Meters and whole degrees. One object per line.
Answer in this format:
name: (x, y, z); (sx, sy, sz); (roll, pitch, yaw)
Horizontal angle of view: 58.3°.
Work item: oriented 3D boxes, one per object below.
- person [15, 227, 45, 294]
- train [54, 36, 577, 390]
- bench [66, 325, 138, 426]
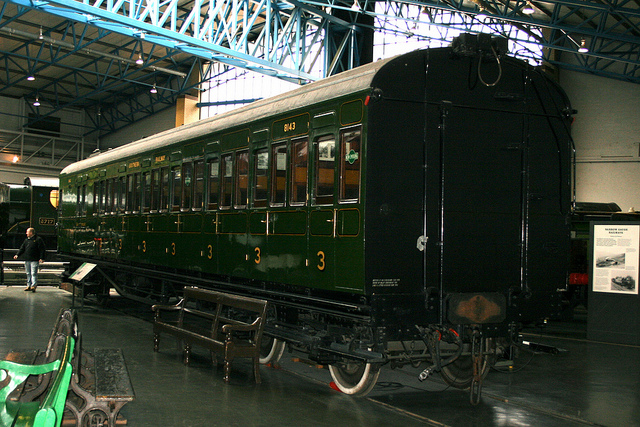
person: (-10.881, 1.737, 21.700); (0.925, 2.526, 0.676); (1, 0, 21)
train: (-1.536, -0.017, 17.483); (17.029, 5.623, 14.726); (1, 0, 24)
bench: (-3.272, 2.461, 8.647); (0.539, 0.639, 1.634); (-1, 5, -17)
